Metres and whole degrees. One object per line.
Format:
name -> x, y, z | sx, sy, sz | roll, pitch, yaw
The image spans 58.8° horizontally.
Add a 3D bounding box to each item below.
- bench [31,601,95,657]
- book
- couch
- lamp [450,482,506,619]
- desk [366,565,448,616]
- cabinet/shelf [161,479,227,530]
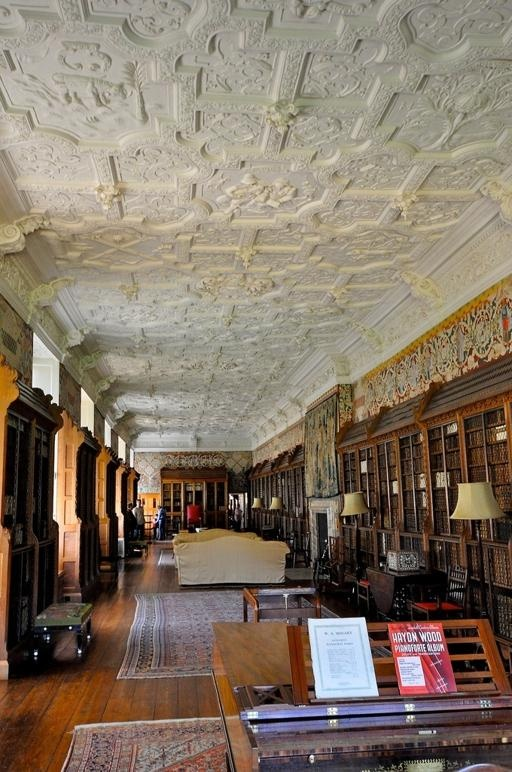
bench -> -2.036, 2.523, 4.778 | 0.442, 0.349, 0.758 | 2, -14, -14
book -> 0.528, 0.856, 1.434 | 0.209, 0.192, 0.050 | 2, -14, -14
couch -> -0.538, 3.569, 9.443 | 1.637, 0.723, 1.684 | 2, -9, -10
lamp -> 1.929, 1.363, 3.878 | 0.378, 1.058, 0.955 | -7, -15, 22
desk -> 1.760, 2.487, 5.341 | 0.657, 0.637, 1.040 | -1, -16, -1
cabinet/shelf -> -3.269, 5.943, 22.730 | 3.556, 3.132, 1.100 | 0, -12, -6
